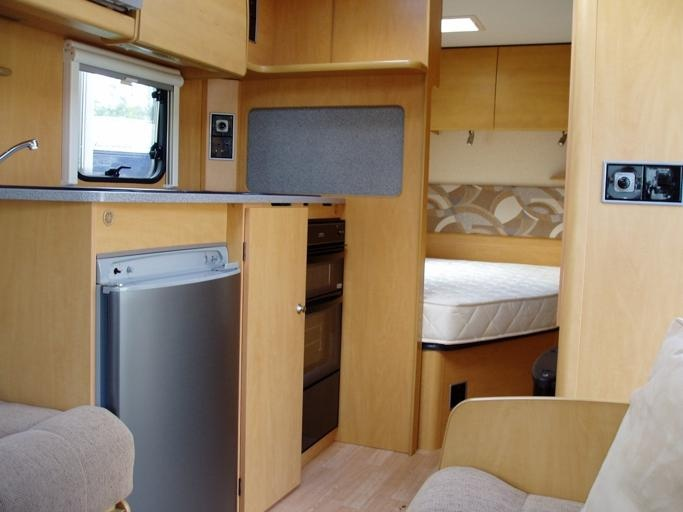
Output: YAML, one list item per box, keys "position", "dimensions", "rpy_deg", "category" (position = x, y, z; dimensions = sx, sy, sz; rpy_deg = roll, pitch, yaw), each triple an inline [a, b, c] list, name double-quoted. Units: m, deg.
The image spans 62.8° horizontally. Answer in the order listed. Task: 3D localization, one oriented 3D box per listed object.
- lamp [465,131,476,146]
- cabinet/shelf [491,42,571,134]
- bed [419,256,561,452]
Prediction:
- position: [1.266, -1.163, 5.482]
  dimensions: [0.084, 0.135, 0.084]
  rpy_deg: [2, 7, 14]
  category: "lamp"
- position: [1.704, -1.517, 5.015]
  dimensions: [0.621, 0.753, 0.177]
  rpy_deg: [3, 7, 19]
  category: "cabinet/shelf"
- position: [0.838, 0.468, 3.281]
  dimensions: [0.828, 0.675, 1.362]
  rpy_deg: [1, 3, 30]
  category: "bed"
